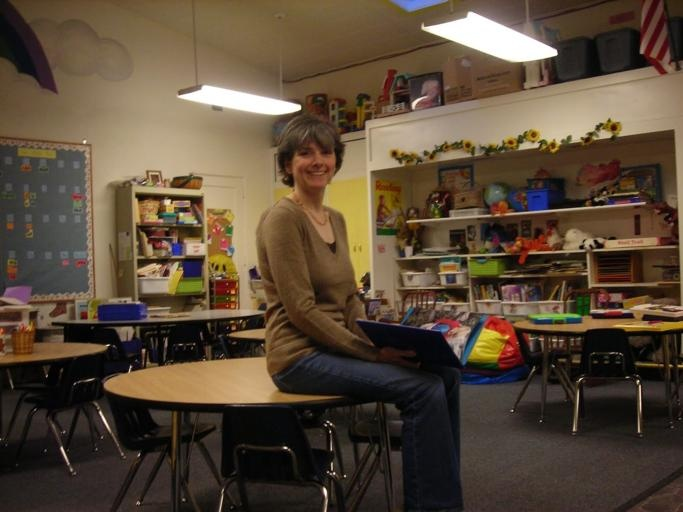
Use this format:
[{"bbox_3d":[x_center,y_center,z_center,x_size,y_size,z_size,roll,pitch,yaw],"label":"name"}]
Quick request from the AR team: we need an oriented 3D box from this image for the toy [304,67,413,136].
[{"bbox_3d":[0.375,-2.344,8.365,0.600,0.750,1.963,-3,4,-39],"label":"toy"}]

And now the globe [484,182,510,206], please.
[{"bbox_3d":[2.039,-0.817,7.158,0.298,0.325,0.293,15,10,-10],"label":"globe"}]

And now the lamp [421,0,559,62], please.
[{"bbox_3d":[1.384,-1.987,4.914,0.475,0.149,1.672,-3,-1,44],"label":"lamp"}]

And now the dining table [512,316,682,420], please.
[{"bbox_3d":[2.138,0.713,4.319,1.116,0.536,1.084,0,-2,-1],"label":"dining table"}]

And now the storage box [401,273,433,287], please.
[{"bbox_3d":[1.083,0.329,7.737,0.287,0.118,0.233,0,-3,25],"label":"storage box"}]

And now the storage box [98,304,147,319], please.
[{"bbox_3d":[-2.346,0.602,5.751,0.274,0.095,0.268,0,-2,5],"label":"storage box"}]

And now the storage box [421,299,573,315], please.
[{"bbox_3d":[2.119,0.663,6.893,0.930,0.184,0.599,-3,-4,34],"label":"storage box"}]

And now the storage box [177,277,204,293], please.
[{"bbox_3d":[-2.321,0.447,8.299,0.252,0.144,0.243,0,-2,-38],"label":"storage box"}]

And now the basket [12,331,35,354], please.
[{"bbox_3d":[-2.279,0.620,3.836,0.148,0.154,0.166,2,-2,-8],"label":"basket"}]

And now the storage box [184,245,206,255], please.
[{"bbox_3d":[-2.242,-0.089,8.258,0.189,0.107,0.183,0,-2,-44],"label":"storage box"}]

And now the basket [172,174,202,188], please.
[{"bbox_3d":[-2.425,-1.136,8.331,0.477,0.239,0.279,-2,0,-12],"label":"basket"}]

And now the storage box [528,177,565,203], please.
[{"bbox_3d":[2.607,-0.851,6.810,0.458,0.283,0.348,-1,0,18],"label":"storage box"}]

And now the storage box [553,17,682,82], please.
[{"bbox_3d":[3.032,-2.273,5.952,0.746,0.396,1.138,-9,2,-36],"label":"storage box"}]
